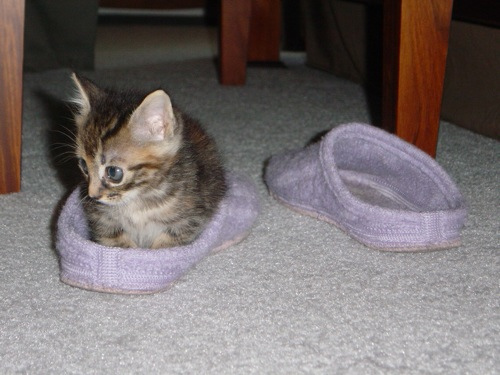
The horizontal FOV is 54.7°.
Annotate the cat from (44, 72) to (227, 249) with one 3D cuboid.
[{"bbox_3d":[-0.181,-0.129,1.149,0.288,0.336,0.447,14,44,12],"label":"cat"}]
